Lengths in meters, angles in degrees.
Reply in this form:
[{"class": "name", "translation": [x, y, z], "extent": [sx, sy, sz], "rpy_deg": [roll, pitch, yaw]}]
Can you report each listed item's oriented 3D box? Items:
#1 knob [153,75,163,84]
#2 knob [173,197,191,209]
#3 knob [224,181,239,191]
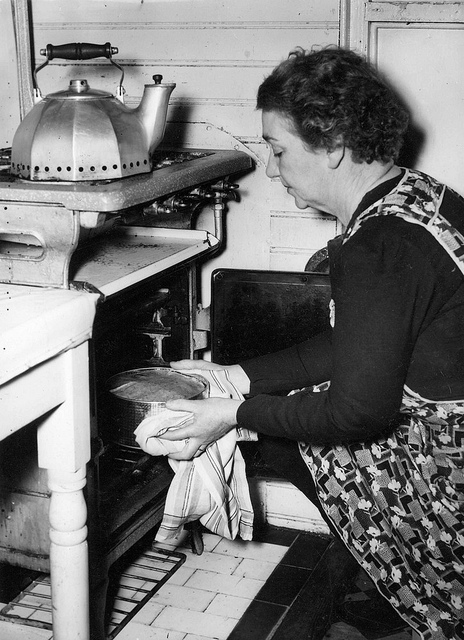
[{"class": "knob", "translation": [-0.176, -0.565, 1.619], "extent": [0.025, 0.024, 0.023], "rpy_deg": [0, 3, -3]}, {"class": "knob", "translation": [-0.116, -0.269, 1.598], "extent": [0.036, 0.016, 0.027], "rpy_deg": [3, 10, 19]}, {"class": "knob", "translation": [-0.001, -0.371, 1.916], "extent": [0.039, 0.014, 0.026], "rpy_deg": [1, 6, -1]}]
